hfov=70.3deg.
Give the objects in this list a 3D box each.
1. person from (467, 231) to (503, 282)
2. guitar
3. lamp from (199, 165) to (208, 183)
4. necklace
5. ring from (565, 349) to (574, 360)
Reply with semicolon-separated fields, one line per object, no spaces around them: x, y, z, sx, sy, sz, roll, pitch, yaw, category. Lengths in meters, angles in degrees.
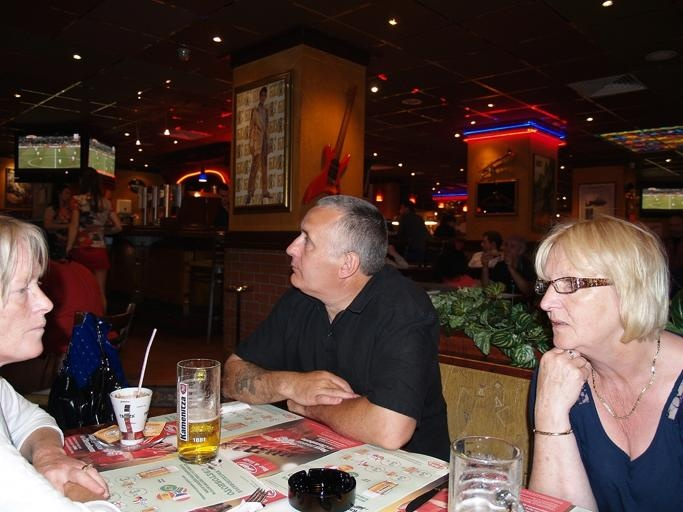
1.844;-0.020;6.245;0.460;0.598;0.728;-4;18;12;person
-0.092;-1.303;5.596;0.234;1.453;0.803;9;9;26;guitar
-3.863;-2.294;13.616;0.226;0.458;0.367;2;8;-15;lamp
0.929;0.389;1.579;0.246;0.286;0.059;-4;-8;23;necklace
0.750;0.323;1.597;0.036;0.031;0.008;-4;-32;23;ring
